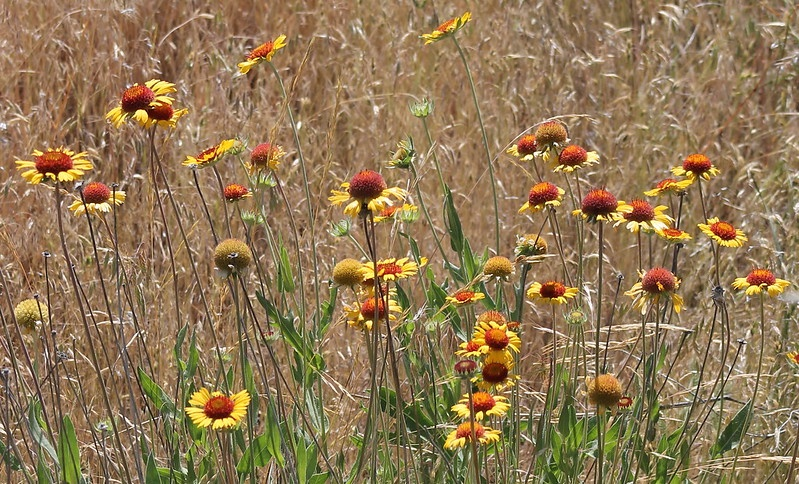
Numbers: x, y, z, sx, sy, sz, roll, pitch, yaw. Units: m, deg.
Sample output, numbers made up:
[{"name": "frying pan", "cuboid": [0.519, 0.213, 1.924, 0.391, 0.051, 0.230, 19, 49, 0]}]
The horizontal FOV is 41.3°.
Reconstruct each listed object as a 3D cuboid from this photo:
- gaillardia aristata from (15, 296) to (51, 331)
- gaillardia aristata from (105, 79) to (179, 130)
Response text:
[{"name": "gaillardia aristata", "cuboid": [-2.297, 0.447, 6.644, 0.184, 0.242, 0.208, -2, 15, -12]}, {"name": "gaillardia aristata", "cuboid": [-1.590, -0.845, 6.590, 0.464, 0.305, 0.311, -7, 30, -18]}]
